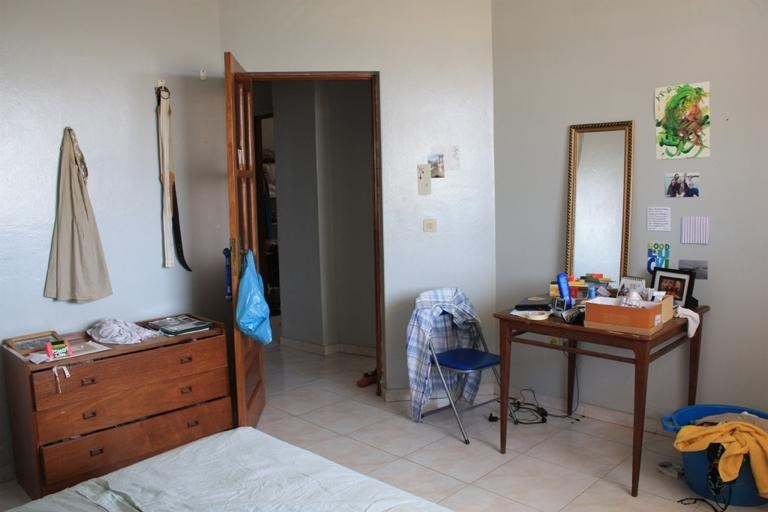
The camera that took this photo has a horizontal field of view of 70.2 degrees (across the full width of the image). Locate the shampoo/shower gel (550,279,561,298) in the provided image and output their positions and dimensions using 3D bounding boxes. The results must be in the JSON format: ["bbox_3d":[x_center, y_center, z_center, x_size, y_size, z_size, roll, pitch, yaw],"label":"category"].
[{"bbox_3d":[1.378,0.270,4.428,0.085,0.111,0.114,-2,2,-37],"label":"shampoo/shower gel"}]

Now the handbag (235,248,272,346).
[{"bbox_3d":[-1.095,0.356,4.467,0.263,0.799,0.316,-6,13,-16],"label":"handbag"}]

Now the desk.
[{"bbox_3d":[1.662,0.663,4.403,1.505,1.355,1.336,5,6,41],"label":"desk"}]

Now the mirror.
[{"bbox_3d":[1.767,-0.455,4.522,0.505,1.266,0.300,4,14,24],"label":"mirror"}]
